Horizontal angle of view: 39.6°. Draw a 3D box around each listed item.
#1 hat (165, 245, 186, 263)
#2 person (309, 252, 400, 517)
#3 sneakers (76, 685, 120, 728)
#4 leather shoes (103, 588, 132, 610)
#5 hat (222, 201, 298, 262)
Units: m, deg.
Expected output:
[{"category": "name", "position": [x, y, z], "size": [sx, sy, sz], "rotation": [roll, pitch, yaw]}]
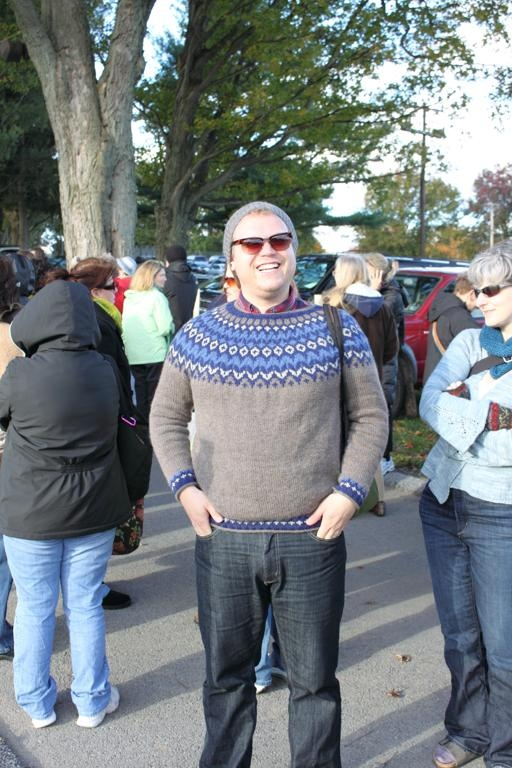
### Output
[{"category": "hat", "position": [-0.959, -1.554, 8.469], "size": [0.225, 0.215, 0.257], "rotation": [0, 25, -8]}, {"category": "person", "position": [0.648, -0.238, 5.122], "size": [0.557, 1.432, 0.602], "rotation": [-33, 42, -30]}, {"category": "sneakers", "position": [-0.651, 1.310, 2.917], "size": [0.071, 0.078, 0.193], "rotation": [10, 19, 16]}, {"category": "leather shoes", "position": [-0.782, 1.185, 3.932], "size": [0.192, 0.066, 0.081], "rotation": [0, 2, 30]}, {"category": "hat", "position": [-0.011, -0.442, 2.144], "size": [0.184, 0.187, 0.080], "rotation": [2, 9, -2]}]
